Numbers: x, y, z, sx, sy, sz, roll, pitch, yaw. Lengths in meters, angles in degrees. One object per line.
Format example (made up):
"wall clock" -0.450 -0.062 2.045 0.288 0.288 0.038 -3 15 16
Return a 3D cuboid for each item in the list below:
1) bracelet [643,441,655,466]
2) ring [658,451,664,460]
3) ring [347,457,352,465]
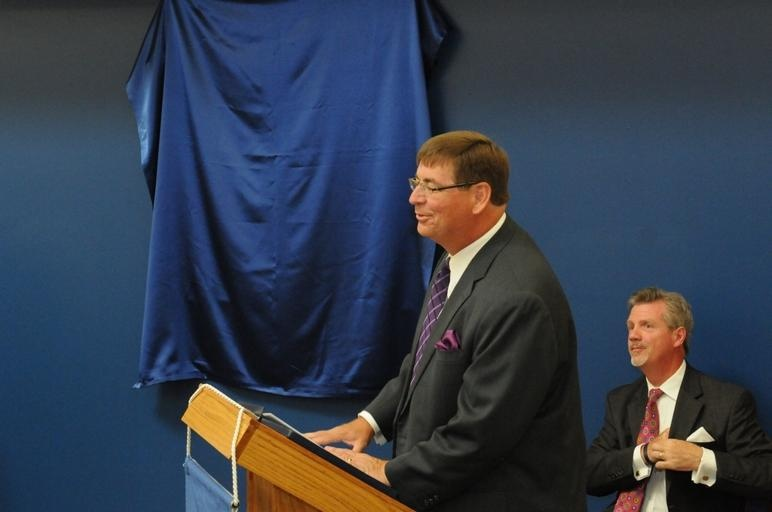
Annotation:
"bracelet" 1.183 0.911 4.607 0.031 0.088 0.083 -13 21 22
"ring" 1.237 0.902 4.553 0.025 0.028 0.020 5 2 -44
"ring" -0.147 0.827 4.059 0.014 0.021 0.005 6 2 21
